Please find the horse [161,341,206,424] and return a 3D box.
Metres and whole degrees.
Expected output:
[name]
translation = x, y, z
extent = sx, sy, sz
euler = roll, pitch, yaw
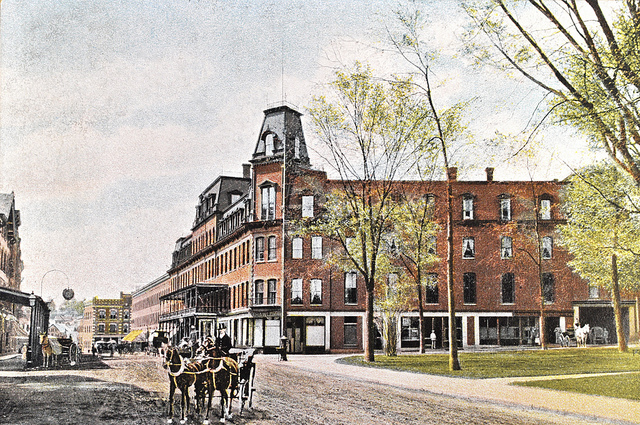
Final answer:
[horse]
translation = -5.583, 7.080, 32.524
extent = 1.766, 3.345, 1.908
euler = -2, -17, 0
